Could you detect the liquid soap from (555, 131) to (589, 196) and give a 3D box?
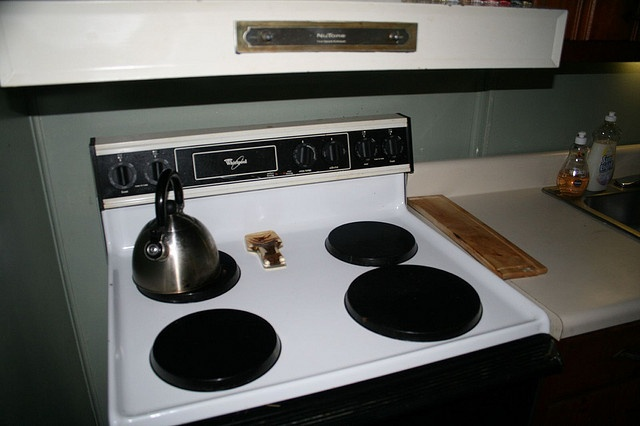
[{"bbox_3d":[0.978,-0.191,1.700,0.110,0.236,0.132,3,23,22],"label":"liquid soap"}]

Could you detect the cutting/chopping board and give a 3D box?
[{"bbox_3d":[0.493,0.078,1.413,0.323,0.103,0.353,-6,30,-15],"label":"cutting/chopping board"}]
